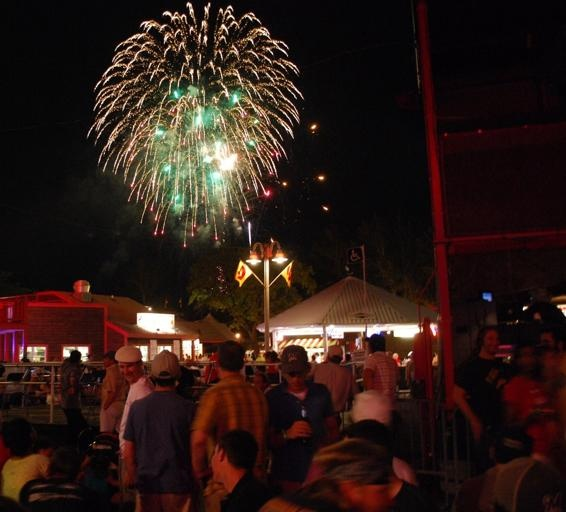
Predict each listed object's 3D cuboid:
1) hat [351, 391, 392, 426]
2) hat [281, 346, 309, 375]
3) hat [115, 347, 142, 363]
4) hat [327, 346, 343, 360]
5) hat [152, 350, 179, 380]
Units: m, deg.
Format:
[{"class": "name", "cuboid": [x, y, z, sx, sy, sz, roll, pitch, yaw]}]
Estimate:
[{"class": "hat", "cuboid": [0.553, 0.975, 3.657, 0.251, 0.220, 0.449, -3, -11, 8]}, {"class": "hat", "cuboid": [0.095, 0.885, 4.812, 0.157, 0.154, 0.257, 1, -4, 1]}, {"class": "hat", "cuboid": [-1.550, 1.003, 5.821, 0.250, 0.184, 0.265, 1, -11, -16]}, {"class": "hat", "cuboid": [0.790, 1.488, 8.811, 0.201, 0.182, 0.362, 2, -1, 3]}, {"class": "hat", "cuboid": [-0.967, 0.904, 4.769, 0.232, 0.233, 0.281, 1, -11, -14]}]
